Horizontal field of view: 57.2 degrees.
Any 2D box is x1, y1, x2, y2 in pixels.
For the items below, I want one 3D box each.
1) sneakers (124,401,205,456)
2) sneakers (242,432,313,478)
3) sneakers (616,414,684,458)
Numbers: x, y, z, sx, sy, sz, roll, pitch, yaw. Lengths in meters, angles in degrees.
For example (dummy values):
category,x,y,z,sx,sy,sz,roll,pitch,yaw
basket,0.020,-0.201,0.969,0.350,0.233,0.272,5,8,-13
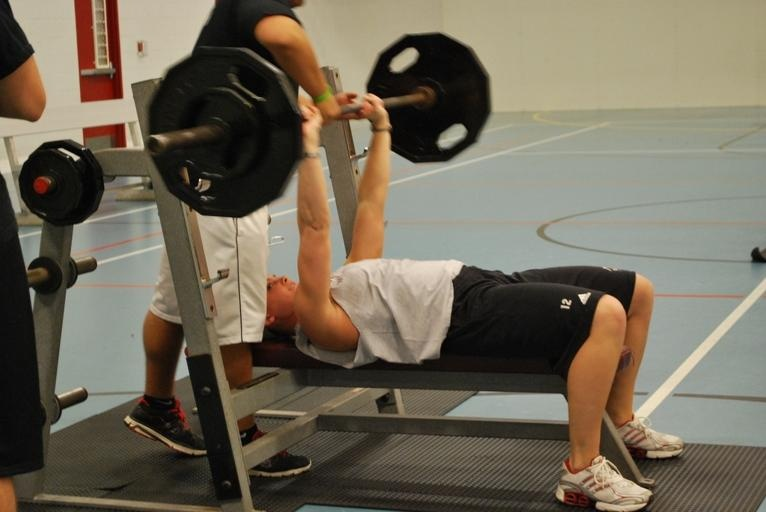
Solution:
category,x,y,z,sx,sy,sz,roll,pitch,yaw
sneakers,-0.857,0.688,2.854,0.370,0.171,0.133,30,-17,-28
sneakers,-0.424,0.795,2.782,0.302,0.141,0.113,-10,-1,26
sneakers,0.993,0.694,2.692,0.324,0.138,0.119,0,0,4
